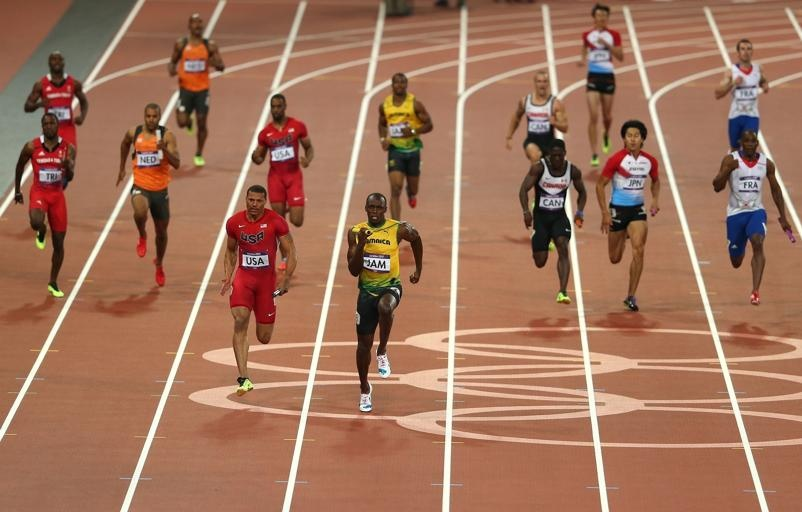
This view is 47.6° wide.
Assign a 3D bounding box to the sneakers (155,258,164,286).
[{"bbox_3d":[-3.268,0.227,12.377,0.125,0.327,0.145,-14,2,-21],"label":"sneakers"}]

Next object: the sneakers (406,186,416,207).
[{"bbox_3d":[0.165,-0.910,13.732,0.133,0.111,0.346,29,-7,7],"label":"sneakers"}]

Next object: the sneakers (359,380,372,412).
[{"bbox_3d":[-0.384,1.564,10.150,0.142,0.351,0.157,-1,-19,8],"label":"sneakers"}]

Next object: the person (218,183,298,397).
[{"bbox_3d":[-1.544,0.266,9.974,0.784,2.060,1.117,-2,13,-7],"label":"person"}]

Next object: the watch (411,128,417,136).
[{"bbox_3d":[0.189,-1.778,13.023,0.076,0.093,0.060,-3,14,-10],"label":"watch"}]

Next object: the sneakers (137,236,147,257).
[{"bbox_3d":[-3.546,-0.121,12.508,0.157,0.361,0.153,-2,-6,-10],"label":"sneakers"}]

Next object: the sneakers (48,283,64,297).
[{"bbox_3d":[-4.565,0.467,12.102,0.119,0.100,0.260,-11,13,-40],"label":"sneakers"}]

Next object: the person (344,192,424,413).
[{"bbox_3d":[-0.179,0.554,9.838,0.730,2.516,0.588,-13,19,-43],"label":"person"}]

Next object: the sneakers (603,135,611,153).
[{"bbox_3d":[3.433,-1.892,15.231,0.115,0.275,0.125,3,7,6],"label":"sneakers"}]

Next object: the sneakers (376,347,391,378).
[{"bbox_3d":[-0.220,1.152,10.188,0.136,0.161,0.374,-22,35,13],"label":"sneakers"}]

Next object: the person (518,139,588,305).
[{"bbox_3d":[2.005,-0.476,12.062,0.816,2.163,1.306,2,13,8],"label":"person"}]
